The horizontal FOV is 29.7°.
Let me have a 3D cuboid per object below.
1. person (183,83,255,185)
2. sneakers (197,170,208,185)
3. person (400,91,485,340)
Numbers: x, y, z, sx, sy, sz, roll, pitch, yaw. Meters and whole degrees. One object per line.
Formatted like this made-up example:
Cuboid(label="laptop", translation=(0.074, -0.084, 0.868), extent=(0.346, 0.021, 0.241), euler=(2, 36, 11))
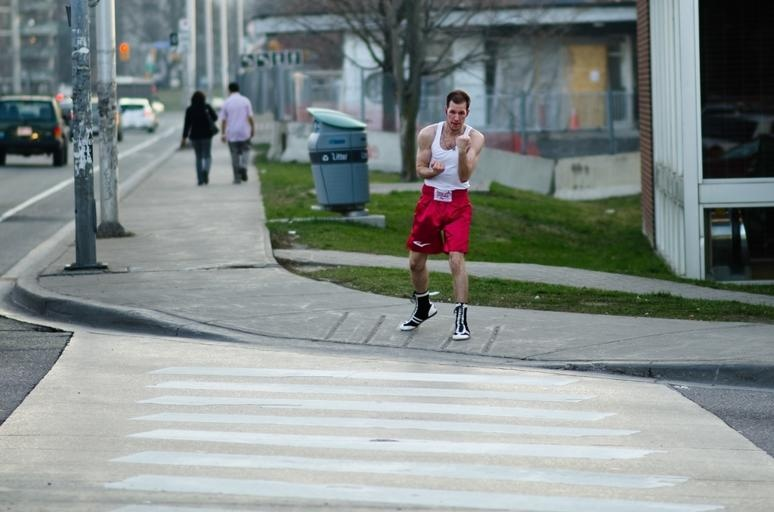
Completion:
Cuboid(label="person", translation=(-3.423, -2.497, 29.594), extent=(1.412, 2.074, 1.008), euler=(-1, 9, -16))
Cuboid(label="sneakers", translation=(-3.718, -1.576, 29.428), extent=(0.136, 0.334, 0.149), euler=(-2, 11, -2))
Cuboid(label="person", translation=(0.683, -0.530, 17.743), extent=(0.923, 2.967, 0.751), euler=(4, 9, 18))
